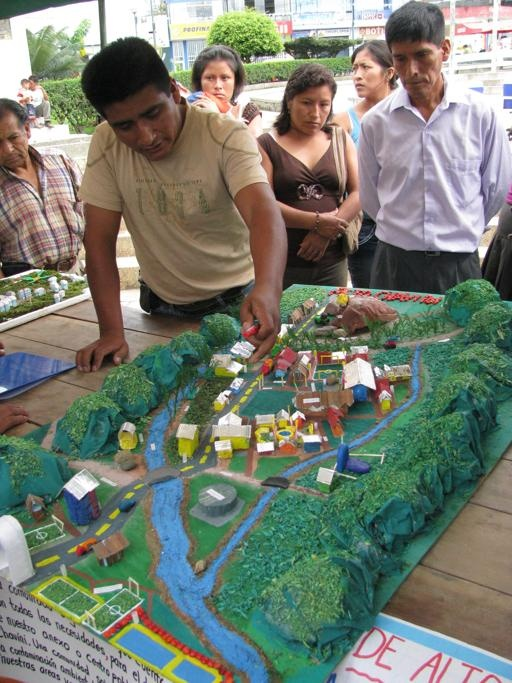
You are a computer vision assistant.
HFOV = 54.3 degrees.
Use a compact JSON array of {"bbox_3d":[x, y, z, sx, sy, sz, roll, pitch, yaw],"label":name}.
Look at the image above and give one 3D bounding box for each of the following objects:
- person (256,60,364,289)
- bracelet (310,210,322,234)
[{"bbox_3d":[0.443,-0.801,4.042,0.870,2.466,0.748,-3,24,-1],"label":"person"},{"bbox_3d":[0.458,-0.881,3.744,0.044,0.121,0.092,16,-10,7],"label":"bracelet"}]
